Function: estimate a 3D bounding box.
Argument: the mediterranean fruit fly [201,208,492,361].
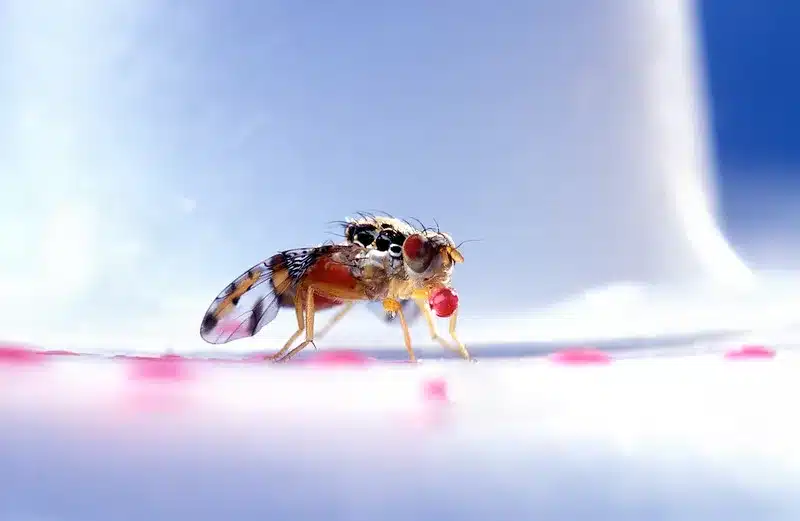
[{"bbox_3d":[-0.357,0.175,4.713,1.583,0.861,1.340,2,3,7],"label":"mediterranean fruit fly"}]
